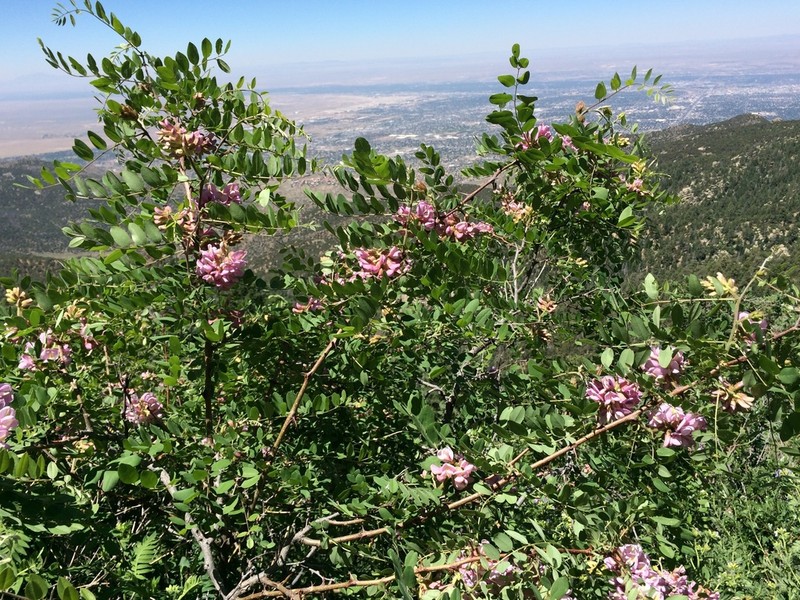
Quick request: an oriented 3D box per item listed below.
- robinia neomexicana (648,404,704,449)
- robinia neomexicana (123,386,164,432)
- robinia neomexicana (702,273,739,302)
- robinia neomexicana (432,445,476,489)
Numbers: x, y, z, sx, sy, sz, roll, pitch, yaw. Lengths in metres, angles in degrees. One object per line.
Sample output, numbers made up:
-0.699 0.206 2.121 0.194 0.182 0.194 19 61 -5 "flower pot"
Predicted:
1.166 0.540 2.909 0.227 0.191 0.089 7 17 10 "robinia neomexicana"
-1.363 0.606 3.624 0.253 0.111 0.233 12 58 -30 "robinia neomexicana"
1.348 -0.062 2.894 0.124 0.060 0.122 40 34 -16 "robinia neomexicana"
0.222 0.731 2.949 0.191 0.084 0.170 10 50 17 "robinia neomexicana"
